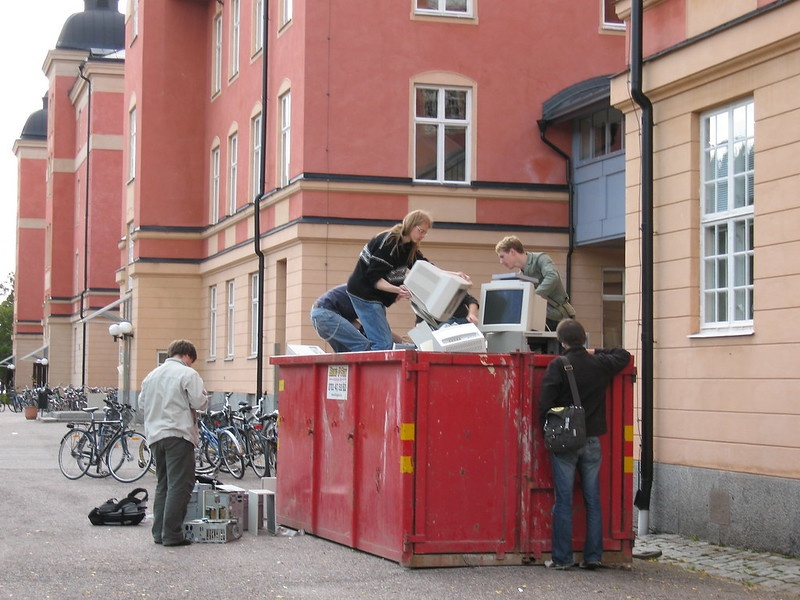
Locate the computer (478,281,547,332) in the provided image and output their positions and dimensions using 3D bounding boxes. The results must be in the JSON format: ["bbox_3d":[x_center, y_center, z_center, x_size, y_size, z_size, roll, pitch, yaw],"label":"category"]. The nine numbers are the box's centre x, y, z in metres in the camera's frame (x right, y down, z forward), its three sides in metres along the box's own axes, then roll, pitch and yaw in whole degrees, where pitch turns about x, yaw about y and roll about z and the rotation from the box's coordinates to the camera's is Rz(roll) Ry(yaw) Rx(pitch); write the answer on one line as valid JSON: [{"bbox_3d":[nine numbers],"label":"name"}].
[{"bbox_3d":[1.272,0.101,11.928,0.515,0.763,0.731,0,-3,-42],"label":"computer"}]

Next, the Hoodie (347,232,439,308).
[{"bbox_3d":[-0.177,-0.440,12.816,0.659,1.020,0.898,22,12,20],"label":"Hoodie"}]

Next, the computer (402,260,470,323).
[{"bbox_3d":[0.362,-0.088,12.257,0.649,0.699,0.695,34,-15,1],"label":"computer"}]

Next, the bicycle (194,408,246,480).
[{"bbox_3d":[-3.324,2.724,19.305,0.646,0.927,1.401,-1,-3,-38],"label":"bicycle"}]

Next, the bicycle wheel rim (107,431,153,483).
[{"bbox_3d":[-4.699,2.730,18.237,0.998,1.119,0.145,2,-21,6],"label":"bicycle wheel rim"}]

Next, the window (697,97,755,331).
[{"bbox_3d":[4.126,-1.038,13.305,0.217,2.814,1.033,4,-9,-21],"label":"window"}]

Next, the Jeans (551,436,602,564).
[{"bbox_3d":[1.891,2.138,11.210,0.560,1.330,0.365,0,-8,0],"label":"Jeans"}]

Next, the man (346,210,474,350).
[{"bbox_3d":[-0.034,0.090,12.799,1.419,2.379,0.891,11,9,20],"label":"man"}]

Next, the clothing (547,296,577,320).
[{"bbox_3d":[2.028,0.123,13.192,0.311,0.348,0.235,-6,6,-2],"label":"clothing"}]

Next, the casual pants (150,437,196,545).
[{"bbox_3d":[-2.723,2.262,12.482,0.506,1.238,0.340,1,-8,-3],"label":"casual pants"}]

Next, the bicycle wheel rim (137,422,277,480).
[{"bbox_3d":[-3.103,2.763,19.119,1.834,1.233,0.911,-3,-4,41],"label":"bicycle wheel rim"}]

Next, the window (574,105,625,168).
[{"bbox_3d":[4.261,-3.473,22.734,0.229,1.125,1.699,4,-11,-25],"label":"window"}]
